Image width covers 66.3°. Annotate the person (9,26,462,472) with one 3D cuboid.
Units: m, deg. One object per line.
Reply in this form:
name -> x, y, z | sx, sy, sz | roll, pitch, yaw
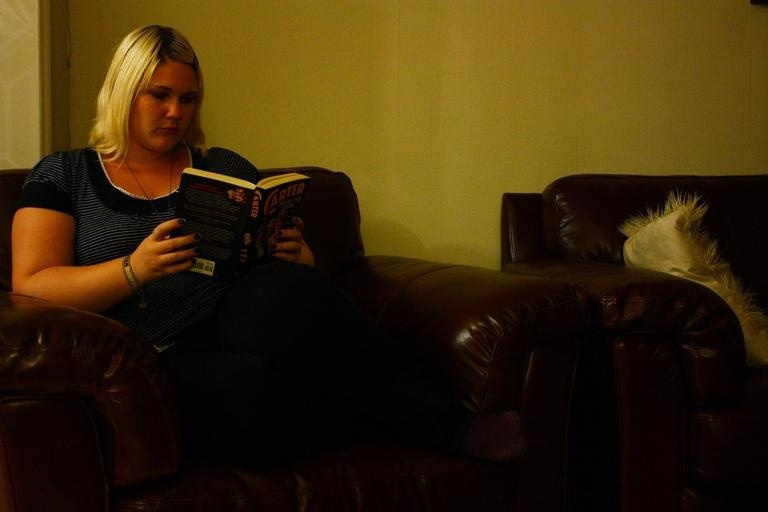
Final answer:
person -> -0.361, -0.054, 1.515 | 1.053, 1.052, 0.680 | 2, 8, 23
